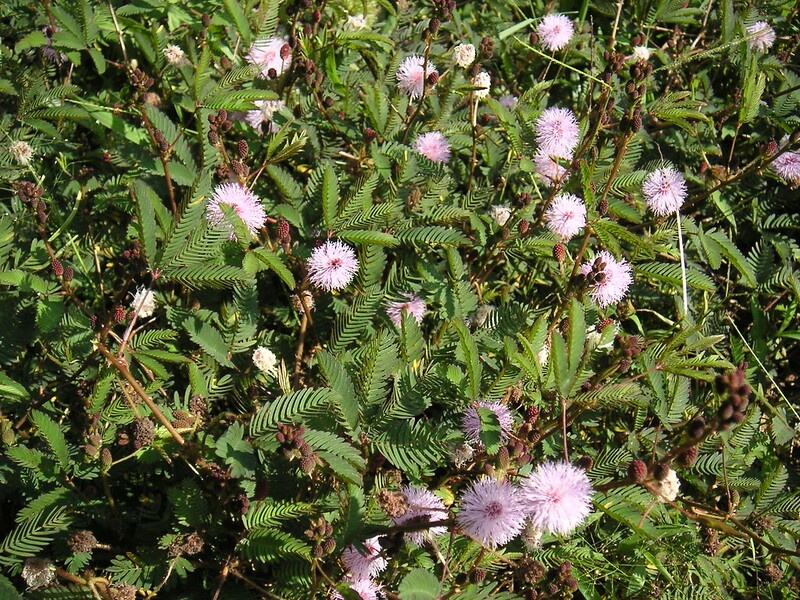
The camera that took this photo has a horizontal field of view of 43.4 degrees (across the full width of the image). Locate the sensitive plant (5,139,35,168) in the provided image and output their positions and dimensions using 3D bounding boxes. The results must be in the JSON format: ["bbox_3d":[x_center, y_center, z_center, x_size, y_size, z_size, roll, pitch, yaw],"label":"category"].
[{"bbox_3d":[-2.296,-0.891,6.127,0.144,0.174,0.111,27,58,34],"label":"sensitive plant"}]

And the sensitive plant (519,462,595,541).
[{"bbox_3d":[0.788,1.013,5.138,0.368,0.296,0.345,3,72,-2],"label":"sensitive plant"}]

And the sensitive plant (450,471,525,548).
[{"bbox_3d":[0.449,1.063,5.092,0.350,0.124,0.322,-19,75,-8],"label":"sensitive plant"}]

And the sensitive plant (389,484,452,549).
[{"bbox_3d":[0.107,1.103,5.306,0.261,0.295,0.302,-19,35,33],"label":"sensitive plant"}]

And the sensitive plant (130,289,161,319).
[{"bbox_3d":[-1.458,0.014,5.696,0.171,0.077,0.216,-11,87,-10],"label":"sensitive plant"}]

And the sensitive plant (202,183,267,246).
[{"bbox_3d":[-0.945,-0.538,5.782,0.307,0.273,0.321,6,72,-1],"label":"sensitive plant"}]

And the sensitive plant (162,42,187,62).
[{"bbox_3d":[-1.416,-1.531,6.275,0.107,0.066,0.134,-26,98,-22],"label":"sensitive plant"}]
